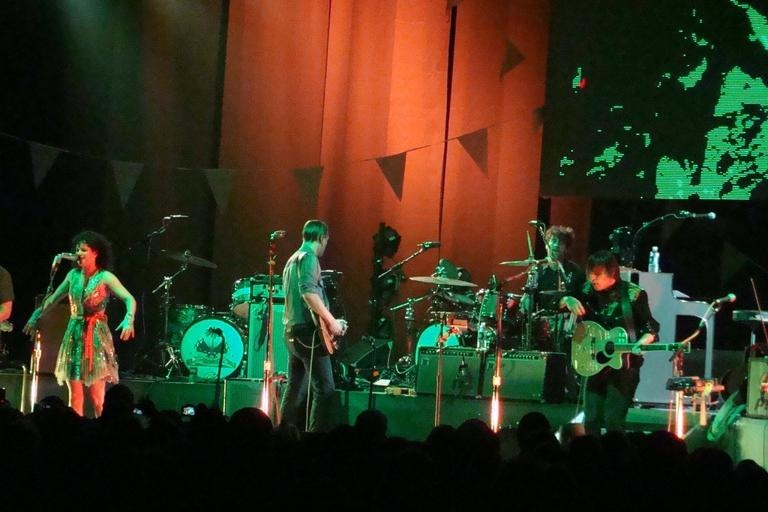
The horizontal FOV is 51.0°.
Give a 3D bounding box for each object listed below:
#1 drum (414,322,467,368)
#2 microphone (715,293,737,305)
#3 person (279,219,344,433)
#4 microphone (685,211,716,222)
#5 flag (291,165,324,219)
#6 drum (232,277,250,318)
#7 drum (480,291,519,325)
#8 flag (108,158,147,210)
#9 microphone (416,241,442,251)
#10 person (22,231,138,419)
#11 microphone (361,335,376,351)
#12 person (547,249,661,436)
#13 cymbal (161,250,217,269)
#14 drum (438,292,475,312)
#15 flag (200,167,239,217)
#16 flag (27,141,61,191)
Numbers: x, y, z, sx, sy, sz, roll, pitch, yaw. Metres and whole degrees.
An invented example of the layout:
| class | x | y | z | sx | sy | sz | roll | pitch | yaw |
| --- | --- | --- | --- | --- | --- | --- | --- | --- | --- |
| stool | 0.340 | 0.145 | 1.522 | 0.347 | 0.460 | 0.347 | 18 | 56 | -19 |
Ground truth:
| class | x | y | z | sx | sy | sz | roll | pitch | yaw |
| --- | --- | --- | --- | --- | --- | --- | --- | --- | --- |
| drum | 0.635 | 0.998 | 9.472 | 0.533 | 0.469 | 1.249 | 0 | -10 | 1 |
| microphone | 3.782 | 0.494 | 8.919 | 0.161 | 0.163 | 0.513 | 5 | 4 | 31 |
| person | -0.658 | 0.675 | 7.768 | 0.601 | 1.995 | 0.611 | 2 | -10 | -7 |
| microphone | 3.691 | -0.454 | 9.398 | 0.107 | 0.119 | 0.567 | -1 | 2 | -24 |
| flag | -0.994 | -0.856 | 10.570 | 0.376 | 0.512 | 0.987 | 2 | -10 | -7 |
| drum | -1.738 | 0.534 | 9.923 | 0.192 | 0.451 | 0.480 | 2 | -10 | -10 |
| drum | 1.330 | 0.601 | 9.341 | 0.349 | 0.397 | 0.404 | 14 | -7 | -44 |
| flag | -3.254 | -0.876 | 10.146 | 0.466 | 0.601 | 0.154 | 8 | 6 | -29 |
| microphone | 0.565 | -0.088 | 9.763 | 0.370 | 0.144 | 0.104 | -3 | -50 | 6 |
| person | -2.952 | 0.675 | 8.039 | 0.941 | 1.811 | 0.400 | 2 | -10 | -7 |
| microphone | -0.171 | 1.025 | 9.287 | 0.148 | 0.183 | 0.476 | 1 | -10 | -2 |
| person | 2.173 | 0.833 | 7.700 | 0.873 | 1.713 | 0.599 | -2 | -10 | 14 |
| cymbal | -2.423 | 0.064 | 10.131 | 0.401 | 0.104 | 0.417 | 10 | -2 | -3 |
| drum | 0.892 | 0.559 | 9.762 | 0.454 | 0.238 | 0.755 | 0 | -10 | 4 |
| flag | -2.045 | -0.803 | 10.185 | 0.532 | 0.562 | 0.519 | 1 | 4 | 8 |
| flag | -4.017 | -1.094 | 9.559 | 0.338 | 0.117 | 0.598 | 3 | -40 | -20 |
